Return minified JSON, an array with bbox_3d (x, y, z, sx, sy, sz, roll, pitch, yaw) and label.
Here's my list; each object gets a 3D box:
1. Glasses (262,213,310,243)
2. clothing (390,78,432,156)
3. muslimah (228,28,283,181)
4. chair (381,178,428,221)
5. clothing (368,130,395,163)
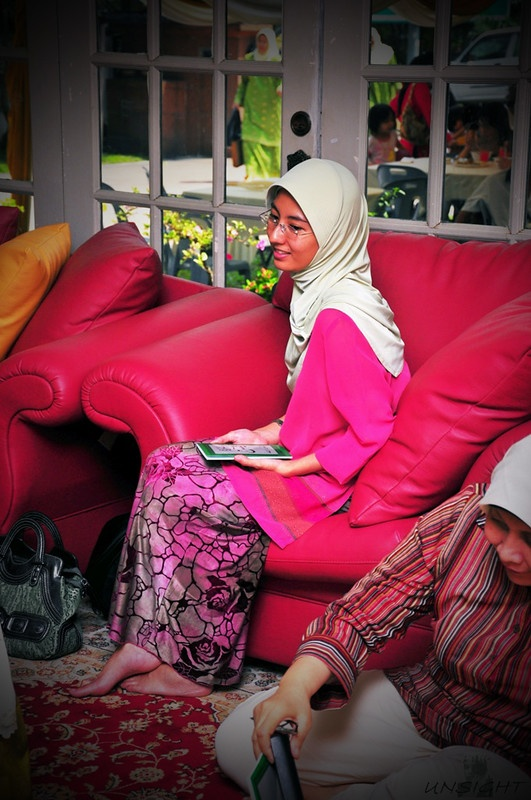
[{"bbox_3d":[0.056,-0.425,1.525,0.104,0.031,0.104,29,51,23],"label":"Glasses"},{"bbox_3d":[0.489,-0.941,2.034,0.094,0.233,0.161,-33,39,-26],"label":"clothing"},{"bbox_3d":[-0.029,-1.087,2.301,0.192,0.499,0.151,3,5,13],"label":"muslimah"},{"bbox_3d":[0.481,-0.685,2.132,0.150,0.126,0.127,3,2,9],"label":"chair"},{"bbox_3d":[0.405,-0.872,2.118,0.117,0.118,0.063,-4,0,5],"label":"clothing"}]
